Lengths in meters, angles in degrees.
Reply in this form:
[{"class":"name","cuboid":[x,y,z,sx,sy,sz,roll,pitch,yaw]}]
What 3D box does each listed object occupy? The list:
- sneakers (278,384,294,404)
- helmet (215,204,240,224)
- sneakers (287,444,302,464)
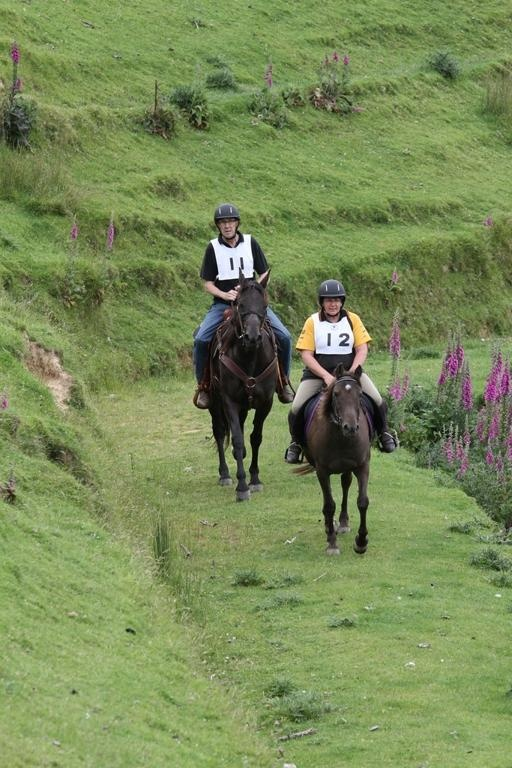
[{"class":"sneakers","cuboid":[0.382,0.109,20.856,0.130,0.379,0.202,-3,-42,10]},{"class":"helmet","cuboid":[-0.401,-2.284,19.938,0.207,0.229,0.279,-3,-28,1]},{"class":"sneakers","cuboid":[0.433,0.839,18.366,0.146,0.264,0.248,1,-20,4]}]
